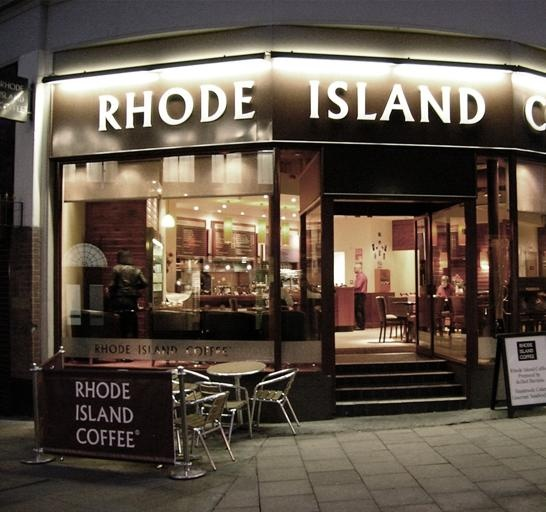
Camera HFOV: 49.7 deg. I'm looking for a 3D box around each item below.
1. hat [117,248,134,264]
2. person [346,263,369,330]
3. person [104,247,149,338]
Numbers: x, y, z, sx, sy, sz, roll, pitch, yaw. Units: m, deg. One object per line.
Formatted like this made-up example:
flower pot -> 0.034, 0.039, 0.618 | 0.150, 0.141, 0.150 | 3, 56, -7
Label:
hat -> -2.233, 0.000, 8.929 | 0.199, 0.228, 0.213 | 0, 1, -16
person -> 2.258, 1.088, 15.795 | 0.742, 1.763, 0.813 | -1, 5, -8
person -> -2.208, 0.558, 8.863 | 0.601, 1.249, 0.309 | 2, 3, 32
